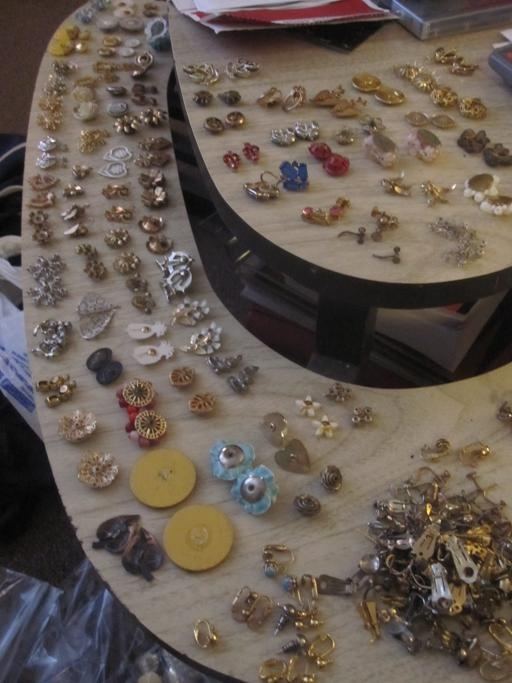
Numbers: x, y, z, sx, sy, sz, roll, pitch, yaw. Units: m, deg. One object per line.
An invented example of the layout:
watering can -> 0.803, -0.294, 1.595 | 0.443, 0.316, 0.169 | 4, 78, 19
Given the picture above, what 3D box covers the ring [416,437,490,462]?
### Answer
ring -> 0.244, 0.137, 0.833 | 0.062, 0.015, 0.035 | -8, 38, -13
